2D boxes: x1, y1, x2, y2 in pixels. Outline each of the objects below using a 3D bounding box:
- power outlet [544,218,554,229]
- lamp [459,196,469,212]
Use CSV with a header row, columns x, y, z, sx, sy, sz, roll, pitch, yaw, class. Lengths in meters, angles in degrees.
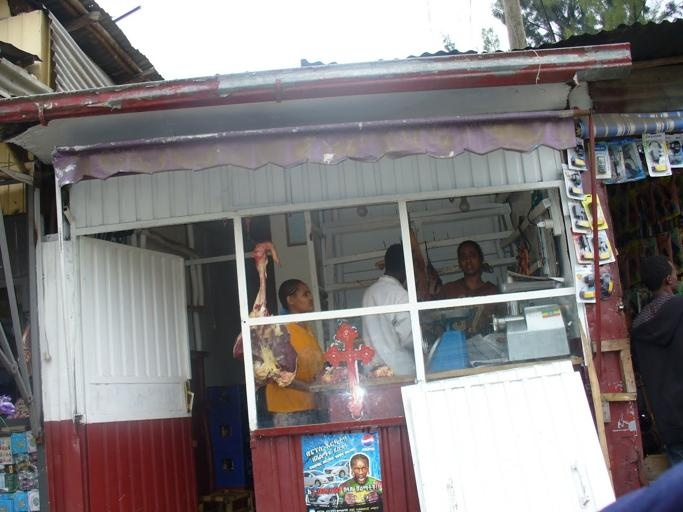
x,y,z,sx,sy,sz,roll,pitch,yaw,class
1.812,-0.279,5.960,0.084,0.088,0.023,-11,-11,22,power outlet
1.086,-0.456,6.026,0.089,0.122,0.035,-8,-10,10,lamp
